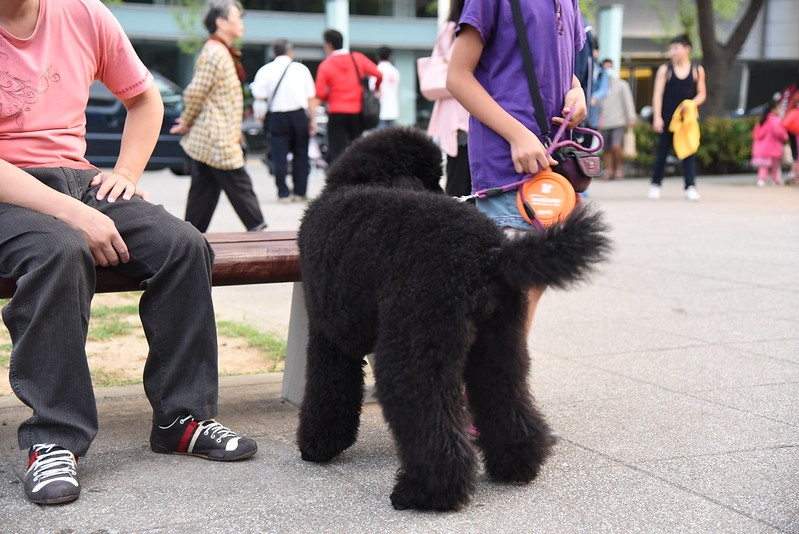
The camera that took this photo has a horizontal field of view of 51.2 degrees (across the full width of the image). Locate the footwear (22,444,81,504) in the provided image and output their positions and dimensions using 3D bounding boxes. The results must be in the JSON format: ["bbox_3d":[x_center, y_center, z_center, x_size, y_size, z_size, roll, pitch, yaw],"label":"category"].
[{"bbox_3d":[-1.538,0.910,3.688,0.226,0.217,0.226,-6,15,-21],"label":"footwear"}]

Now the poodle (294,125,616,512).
[{"bbox_3d":[0.047,0.164,4.098,0.824,1.746,2.297,-2,2,-29],"label":"poodle"}]

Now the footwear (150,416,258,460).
[{"bbox_3d":[-0.956,0.842,4.153,0.585,0.232,0.199,1,2,5],"label":"footwear"}]

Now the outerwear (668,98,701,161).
[{"bbox_3d":[4.142,-1.975,12.110,0.417,0.871,0.510,4,14,17],"label":"outerwear"}]

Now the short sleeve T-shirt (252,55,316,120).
[{"bbox_3d":[-1.629,-2.573,11.787,0.831,0.770,0.494,-2,14,-8],"label":"short sleeve T-shirt"}]

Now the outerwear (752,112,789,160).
[{"bbox_3d":[6.601,-2.250,14.873,0.484,0.919,0.639,-13,18,-42],"label":"outerwear"}]

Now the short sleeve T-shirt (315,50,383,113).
[{"bbox_3d":[-0.792,-2.901,12.876,0.987,0.928,0.620,-3,27,-7],"label":"short sleeve T-shirt"}]
